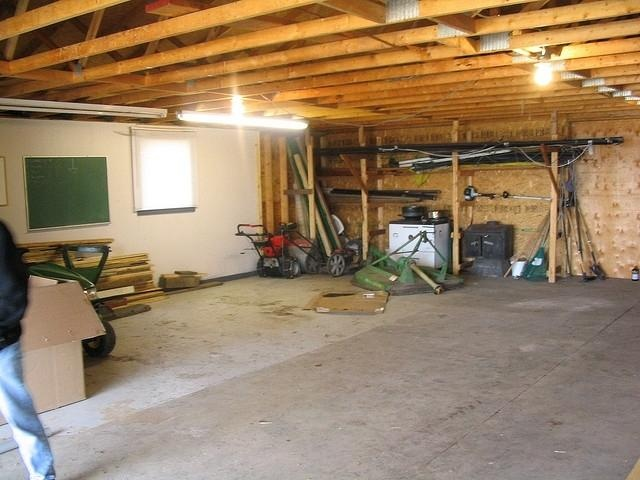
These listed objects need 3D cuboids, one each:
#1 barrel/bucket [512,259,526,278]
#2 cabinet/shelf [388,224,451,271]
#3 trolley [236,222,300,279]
[{"bbox_3d":[3.900,0.588,10.143,0.286,0.322,0.137,11,-10,33],"label":"barrel/bucket"},{"bbox_3d":[2.111,0.121,10.913,1.226,0.965,0.767,-2,13,8],"label":"cabinet/shelf"},{"bbox_3d":[-1.112,0.213,11.078,1.145,1.226,1.112,-8,13,-16],"label":"trolley"}]
